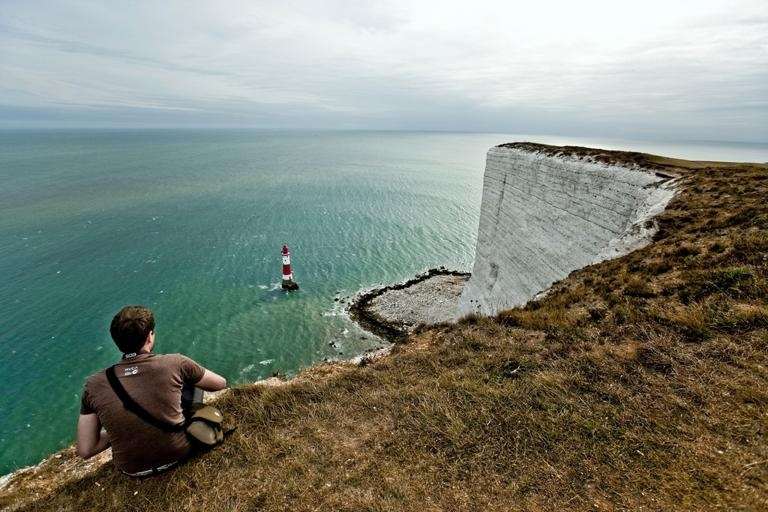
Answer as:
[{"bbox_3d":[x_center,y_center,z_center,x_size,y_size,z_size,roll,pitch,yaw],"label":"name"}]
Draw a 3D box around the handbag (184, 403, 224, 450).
[{"bbox_3d":[-4.816,4.585,11.728,1.362,1.075,0.890,0,9,-16],"label":"handbag"}]
